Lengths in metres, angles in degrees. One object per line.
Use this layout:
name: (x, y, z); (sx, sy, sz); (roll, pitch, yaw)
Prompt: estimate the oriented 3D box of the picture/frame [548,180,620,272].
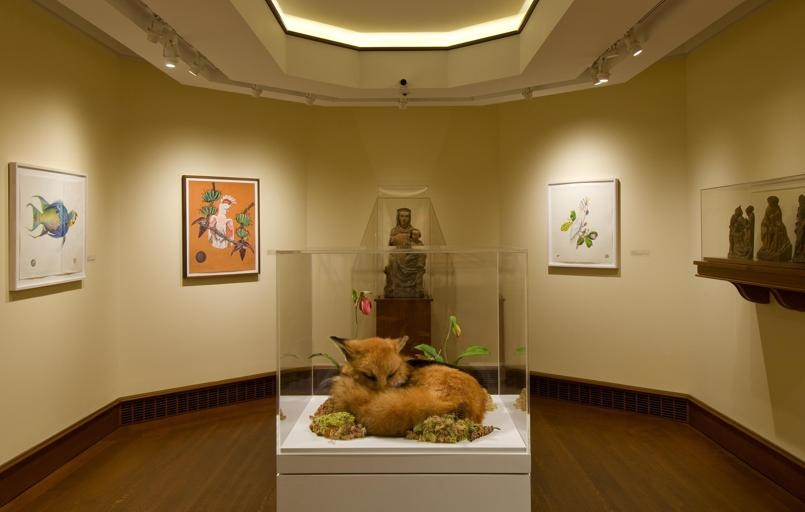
picture/frame: (2.217, -0.359, 6.087); (0.983, 1.393, 0.093); (-1, -1, 28)
